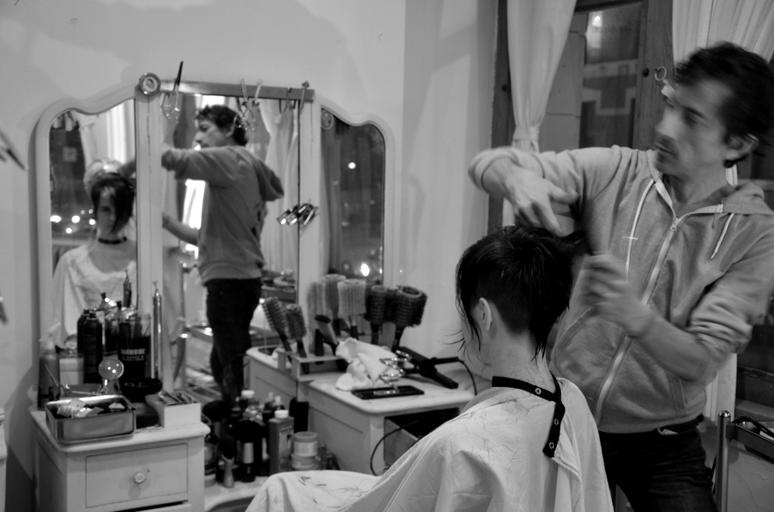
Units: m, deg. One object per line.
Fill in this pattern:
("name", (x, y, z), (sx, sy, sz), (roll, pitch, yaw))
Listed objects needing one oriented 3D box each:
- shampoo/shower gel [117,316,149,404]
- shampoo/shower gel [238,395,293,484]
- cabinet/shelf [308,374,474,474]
("shampoo/shower gel", (-1.076, 0.447, 2.931), (0.136, 0.380, 0.132), (-9, -15, -23))
("shampoo/shower gel", (-0.598, 0.798, 3.201), (0.275, 0.498, 0.264), (-1, 7, -14))
("cabinet/shelf", (0.016, 0.598, 3.035), (0.550, 0.534, 0.467), (-1, 4, -33))
